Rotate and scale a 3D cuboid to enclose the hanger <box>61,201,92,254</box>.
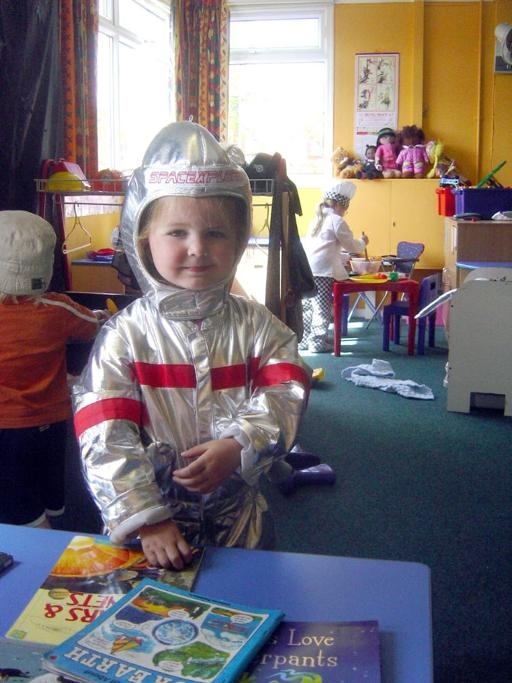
[{"bbox_3d":[-1.132,-0.741,3.578,0.012,0.268,0.247,-1,5,19],"label":"hanger"}]

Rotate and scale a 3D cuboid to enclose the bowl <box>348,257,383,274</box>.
[{"bbox_3d":[0.938,-0.638,4.790,0.202,0.104,0.194,0,7,0],"label":"bowl"}]

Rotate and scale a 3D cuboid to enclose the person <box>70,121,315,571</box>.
[{"bbox_3d":[-0.110,0.003,0.884,0.312,0.699,0.376,4,3,35],"label":"person"}]

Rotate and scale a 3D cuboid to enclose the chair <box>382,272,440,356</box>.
[{"bbox_3d":[1.268,-0.232,4.600,0.376,0.620,0.388,4,12,25],"label":"chair"}]

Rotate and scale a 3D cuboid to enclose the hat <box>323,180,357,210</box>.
[{"bbox_3d":[0.728,-1.310,4.996,0.283,0.281,0.327,4,25,-6],"label":"hat"}]
